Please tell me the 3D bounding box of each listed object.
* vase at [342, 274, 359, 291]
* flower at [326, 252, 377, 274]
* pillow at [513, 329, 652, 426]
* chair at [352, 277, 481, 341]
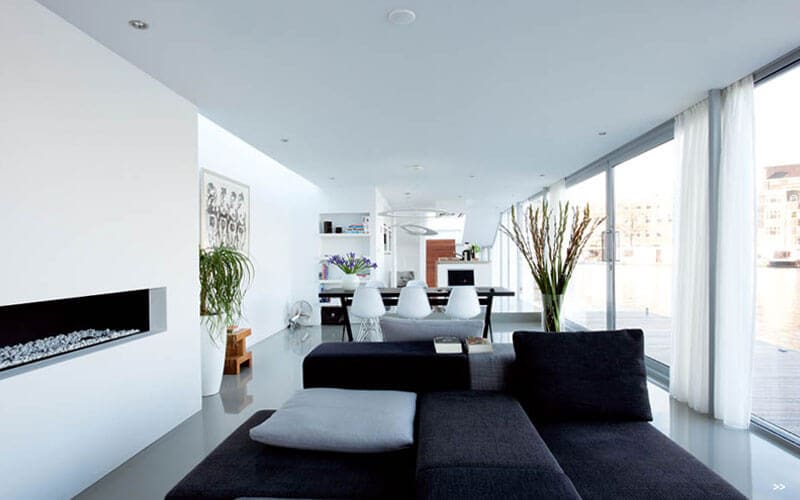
[{"bbox_3d":[-0.840,0.543,8.105,0.261,0.204,0.258,0,-5,-5],"label":"vase"},{"bbox_3d":[-0.897,0.254,8.999,0.647,0.335,0.579,1,-3,-10],"label":"flower"},{"bbox_3d":[1.438,1.029,3.748,0.746,0.517,0.258,-1,-26,4],"label":"pillow"},{"bbox_3d":[0.150,0.818,6.491,1.085,0.695,0.619,-1,1,6],"label":"chair"}]
